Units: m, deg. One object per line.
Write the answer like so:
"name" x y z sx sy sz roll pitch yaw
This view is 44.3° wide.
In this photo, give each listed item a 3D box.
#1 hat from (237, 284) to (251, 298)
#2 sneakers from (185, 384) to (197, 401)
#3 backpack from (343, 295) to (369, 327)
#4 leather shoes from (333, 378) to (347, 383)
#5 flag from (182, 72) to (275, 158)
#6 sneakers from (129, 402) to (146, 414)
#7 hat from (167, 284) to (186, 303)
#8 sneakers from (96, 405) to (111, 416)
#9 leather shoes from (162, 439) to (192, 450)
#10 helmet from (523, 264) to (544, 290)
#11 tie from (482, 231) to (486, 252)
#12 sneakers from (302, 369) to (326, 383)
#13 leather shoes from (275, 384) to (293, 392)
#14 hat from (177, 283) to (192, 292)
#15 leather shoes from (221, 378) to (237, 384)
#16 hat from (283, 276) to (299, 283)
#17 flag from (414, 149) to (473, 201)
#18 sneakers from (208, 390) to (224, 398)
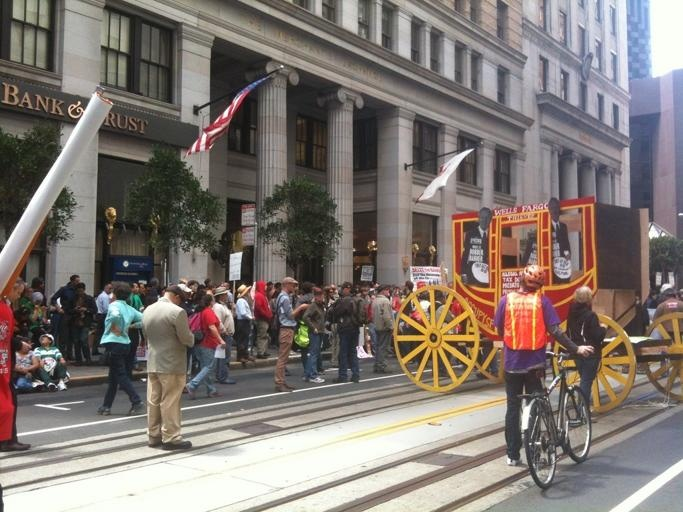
"hat" -2.585 0.936 22.126 0.359 0.145 0.376 -38 2 -2
"sneakers" -3.253 2.878 18.218 0.194 0.453 0.181 -14 -36 -17
"backpack" 0.327 1.340 20.673 0.477 0.853 0.839 -10 -11 41
"leather shoes" -0.030 2.969 20.083 0.324 0.149 0.122 5 -7 5
"flag" -3.754 -4.275 26.499 1.733 2.586 1.912 -1 -6 1
"sneakers" -4.045 3.020 16.806 0.228 0.281 0.428 -6 -8 41
"hat" -3.070 0.719 15.407 0.285 0.313 0.627 1 -7 -12
"sneakers" -4.730 3.067 16.754 0.260 0.180 0.325 1 -7 -17
"leather shoes" -2.830 3.236 14.594 0.532 0.239 0.185 1 -3 -12
"helmet" 3.201 0.321 14.045 0.299 0.395 0.399 11 22 4
"tie" 3.354 -0.327 19.654 0.170 0.446 0.055 -4 -7 30
"sneakers" -0.665 2.914 20.244 0.575 0.262 0.219 0 -4 -6
"leather shoes" -1.293 2.942 18.846 0.446 0.205 0.156 -1 -3 0
"hat" -3.822 0.775 20.534 0.323 0.101 0.216 25 0 4
"leather shoes" -2.677 2.960 19.990 0.387 0.184 0.125 4 -3 -20
"hat" -1.209 0.578 19.773 0.300 0.169 0.227 0 -3 4
"flag" 4.503 -3.639 38.061 1.556 0.685 4.913 -38 2 34
"sneakers" -2.743 2.997 18.344 0.288 0.130 0.145 -1 -2 -10
